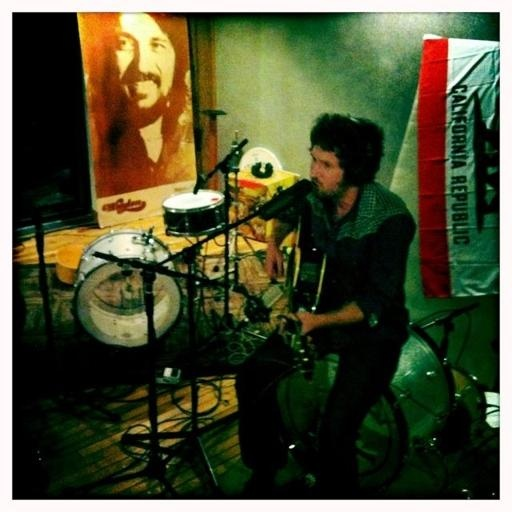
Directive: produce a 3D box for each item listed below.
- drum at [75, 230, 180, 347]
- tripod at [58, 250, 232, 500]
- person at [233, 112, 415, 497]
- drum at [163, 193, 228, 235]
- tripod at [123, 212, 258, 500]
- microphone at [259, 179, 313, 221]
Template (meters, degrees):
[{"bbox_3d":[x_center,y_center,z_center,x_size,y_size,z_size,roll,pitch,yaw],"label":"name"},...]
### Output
[{"bbox_3d":[-0.859,0.207,3.672,0.690,0.672,0.516,-20,7,-14],"label":"drum"},{"bbox_3d":[-0.681,0.747,3.269,1.085,1.275,0.973,0,58,-10],"label":"tripod"},{"bbox_3d":[0.311,0.285,3.106,0.925,2.105,0.922,18,22,32],"label":"person"},{"bbox_3d":[-0.443,-0.306,3.924,0.400,0.178,0.385,-3,27,1],"label":"drum"},{"bbox_3d":[-0.397,0.470,2.922,0.720,1.511,0.996,-5,15,-15],"label":"tripod"},{"bbox_3d":[0.128,-0.259,2.472,0.294,0.171,0.118,-13,19,-41],"label":"microphone"}]
